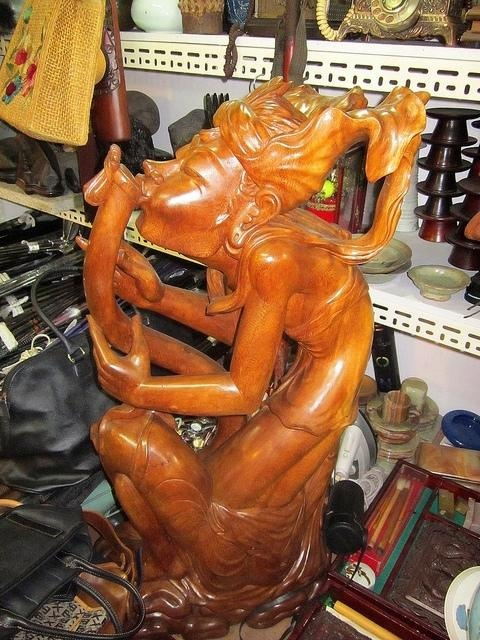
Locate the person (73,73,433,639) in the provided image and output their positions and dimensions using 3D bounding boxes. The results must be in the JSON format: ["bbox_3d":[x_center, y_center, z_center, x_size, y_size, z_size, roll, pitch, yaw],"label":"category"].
[{"bbox_3d":[-0.013,0.107,0.651,0.351,0.781,0.178,-5,24,-18],"label":"person"}]

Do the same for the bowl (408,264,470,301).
[{"bbox_3d":[0.378,-0.074,0.912,0.086,0.033,0.083,3,37,-2],"label":"bowl"}]
